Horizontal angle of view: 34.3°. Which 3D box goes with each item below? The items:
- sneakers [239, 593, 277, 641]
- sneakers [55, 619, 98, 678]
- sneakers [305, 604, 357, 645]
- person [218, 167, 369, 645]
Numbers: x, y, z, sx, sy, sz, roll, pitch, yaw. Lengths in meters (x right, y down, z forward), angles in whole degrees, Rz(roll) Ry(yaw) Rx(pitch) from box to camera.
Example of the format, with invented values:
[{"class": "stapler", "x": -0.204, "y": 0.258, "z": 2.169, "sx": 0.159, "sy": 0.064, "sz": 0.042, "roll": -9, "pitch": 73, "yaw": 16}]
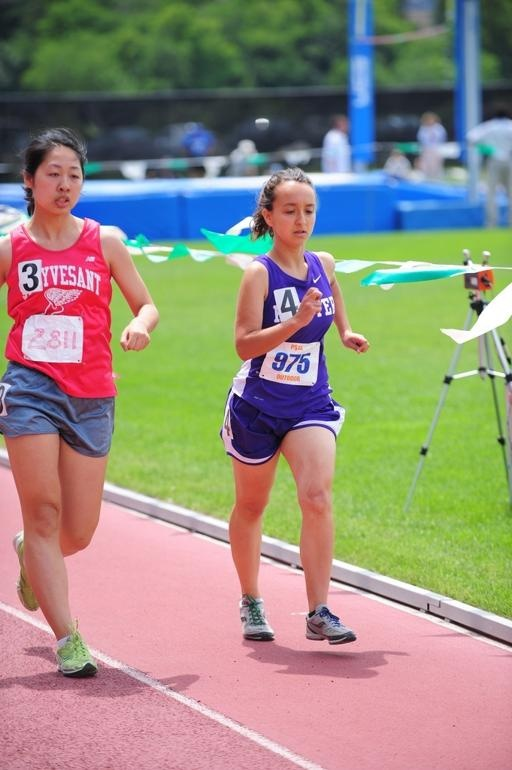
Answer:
[{"class": "sneakers", "x": -0.001, "y": 0.948, "z": 3.422, "sx": 0.087, "sy": 0.100, "sz": 0.233, "roll": -1, "pitch": 6, "yaw": -16}, {"class": "sneakers", "x": -0.644, "y": 0.948, "z": 2.936, "sx": 0.095, "sy": 0.108, "sz": 0.237, "roll": 0, "pitch": -3, "yaw": -26}, {"class": "sneakers", "x": 0.261, "y": 0.895, "z": 3.115, "sx": 0.097, "sy": 0.125, "sz": 0.268, "roll": -1, "pitch": -7, "yaw": -42}, {"class": "person", "x": 0.114, "y": 0.102, "z": 3.234, "sx": 0.521, "sy": 1.887, "sz": 0.688, "roll": -1, "pitch": 4, "yaw": 1}]
